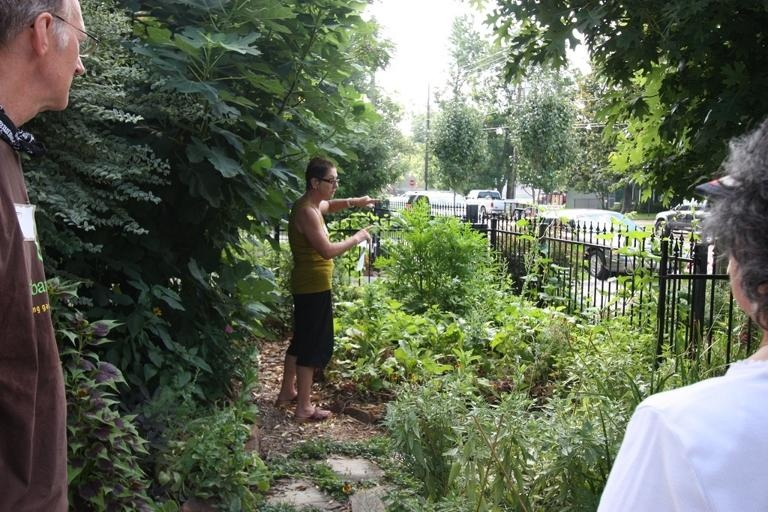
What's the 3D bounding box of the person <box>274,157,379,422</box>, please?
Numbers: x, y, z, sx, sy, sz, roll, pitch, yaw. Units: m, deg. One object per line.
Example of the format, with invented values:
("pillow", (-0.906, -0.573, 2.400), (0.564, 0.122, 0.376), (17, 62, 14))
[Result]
("person", (-0.564, 0.267, 5.842), (0.753, 2.307, 0.959), (2, 3, 4))
